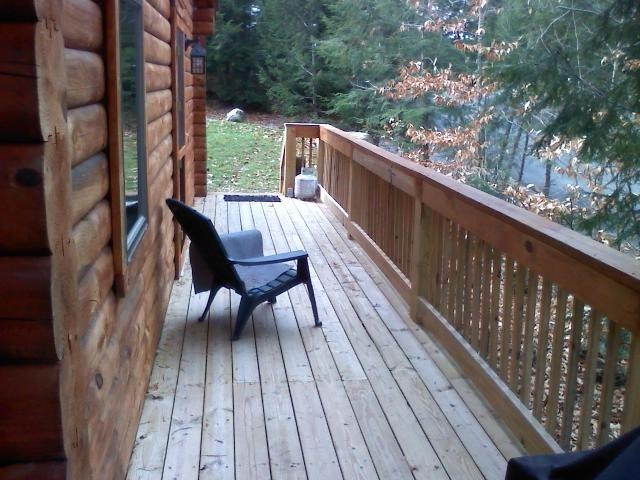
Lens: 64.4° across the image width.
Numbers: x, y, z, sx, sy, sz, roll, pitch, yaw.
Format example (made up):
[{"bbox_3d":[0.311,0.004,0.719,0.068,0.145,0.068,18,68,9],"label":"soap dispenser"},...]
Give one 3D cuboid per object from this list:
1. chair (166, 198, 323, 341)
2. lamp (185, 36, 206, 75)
[{"bbox_3d":[-0.526,0.160,3.595,0.820,0.903,0.989,14,17,43],"label":"chair"},{"bbox_3d":[-1.713,-2.518,6.979,0.271,0.553,0.172,-3,3,-8],"label":"lamp"}]
